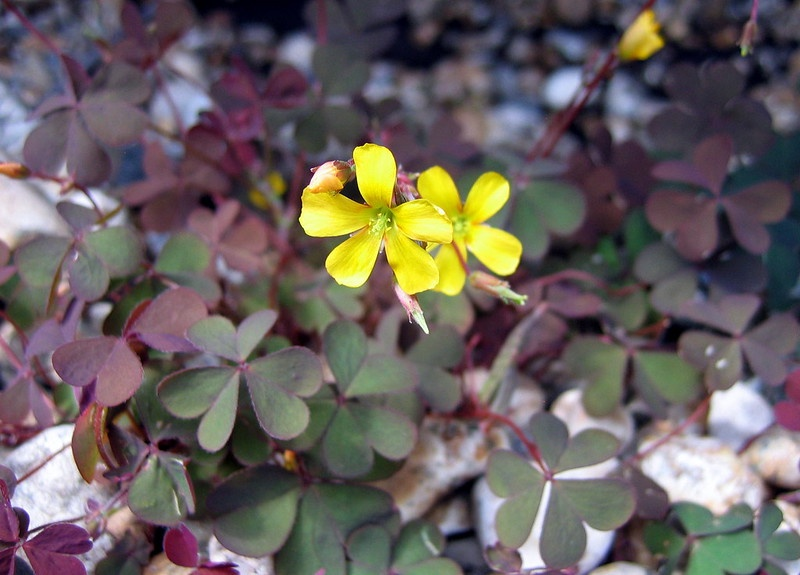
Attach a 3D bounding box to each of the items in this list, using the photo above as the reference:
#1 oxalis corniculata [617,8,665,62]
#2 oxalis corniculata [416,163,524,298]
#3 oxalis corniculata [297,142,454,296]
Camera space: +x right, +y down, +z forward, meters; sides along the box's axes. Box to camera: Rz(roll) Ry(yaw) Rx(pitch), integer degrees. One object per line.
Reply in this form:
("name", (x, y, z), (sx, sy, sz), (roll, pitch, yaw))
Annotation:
("oxalis corniculata", (0.457, -0.472, 1.450), (0.034, 0.091, 0.085), (7, 57, -35))
("oxalis corniculata", (0.097, -0.128, 1.412), (0.183, 0.213, 0.052), (9, 48, -31))
("oxalis corniculata", (-0.031, -0.120, 1.353), (0.090, 0.241, 0.253), (-46, 32, -24))
